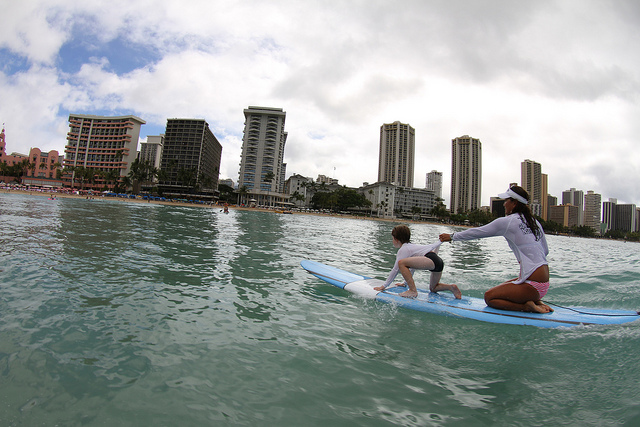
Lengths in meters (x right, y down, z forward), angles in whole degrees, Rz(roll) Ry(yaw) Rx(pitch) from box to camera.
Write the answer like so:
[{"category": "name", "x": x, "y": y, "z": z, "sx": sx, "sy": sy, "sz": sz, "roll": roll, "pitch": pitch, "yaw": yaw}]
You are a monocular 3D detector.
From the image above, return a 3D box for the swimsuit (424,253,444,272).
[{"category": "swimsuit", "x": 2.436, "y": 1.016, "z": 7.888, "sx": 0.352, "sy": 0.414, "sz": 0.428, "roll": 2, "pitch": -4, "yaw": 31}]

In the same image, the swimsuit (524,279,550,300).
[{"category": "swimsuit", "x": 4.202, "y": 1.443, "z": 7.160, "sx": 0.510, "sy": 0.366, "sz": 0.293, "roll": 7, "pitch": -5, "yaw": -36}]

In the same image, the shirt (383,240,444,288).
[{"category": "shirt", "x": 2.015, "y": 1.012, "z": 8.227, "sx": 1.685, "sy": 0.934, "sz": 0.738, "roll": -3, "pitch": 14, "yaw": -4}]

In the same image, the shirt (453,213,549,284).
[{"category": "shirt", "x": 3.661, "y": 0.627, "z": 7.640, "sx": 1.461, "sy": 1.367, "sz": 1.642, "roll": 7, "pitch": 3, "yaw": -28}]
